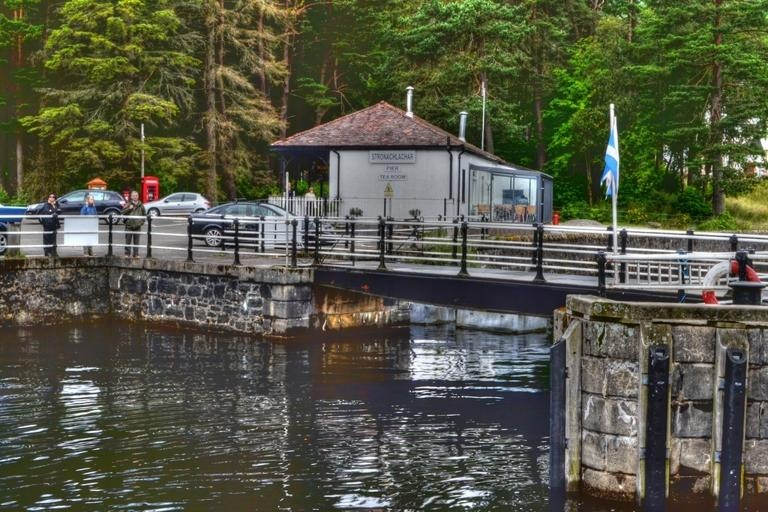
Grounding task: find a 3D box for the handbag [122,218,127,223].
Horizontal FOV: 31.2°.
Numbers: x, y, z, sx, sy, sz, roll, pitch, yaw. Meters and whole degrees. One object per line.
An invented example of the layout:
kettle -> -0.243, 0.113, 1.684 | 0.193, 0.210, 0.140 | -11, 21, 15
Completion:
handbag -> -10.749, -1.459, 57.207 | 0.128, 0.178, 0.164 | -3, -8, -25
